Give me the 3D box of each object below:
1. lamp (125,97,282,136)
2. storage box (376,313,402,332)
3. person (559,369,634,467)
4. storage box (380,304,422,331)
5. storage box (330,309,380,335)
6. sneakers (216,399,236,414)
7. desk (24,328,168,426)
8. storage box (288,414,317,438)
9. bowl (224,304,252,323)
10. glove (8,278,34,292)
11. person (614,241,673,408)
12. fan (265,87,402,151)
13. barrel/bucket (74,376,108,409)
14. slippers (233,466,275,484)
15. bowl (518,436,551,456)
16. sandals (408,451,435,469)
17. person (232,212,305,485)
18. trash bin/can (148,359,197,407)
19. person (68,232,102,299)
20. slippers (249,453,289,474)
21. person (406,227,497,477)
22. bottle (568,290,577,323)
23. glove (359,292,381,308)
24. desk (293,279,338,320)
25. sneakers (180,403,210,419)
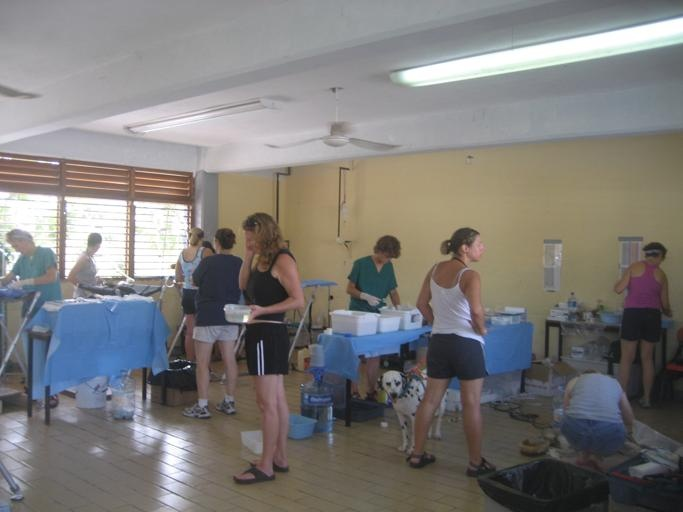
[{"bbox_3d":[-1.832,-1.832,7.067,2.746,0.182,0.382,3,5,33],"label":"lamp"},{"bbox_3d":[0.474,0.693,5.550,0.153,0.101,0.212,3,4,41],"label":"storage box"},{"bbox_3d":[1.953,1.283,4.146,0.479,0.727,0.328,3,5,27],"label":"person"},{"bbox_3d":[0.664,0.658,5.767,0.236,0.174,0.346,3,-3,-41],"label":"storage box"},{"bbox_3d":[0.080,0.662,5.379,0.242,0.162,0.345,3,-3,-45],"label":"storage box"},{"bbox_3d":[-1.249,1.623,5.878,0.098,0.173,0.265,1,7,-34],"label":"sneakers"},{"bbox_3d":[-2.584,1.258,5.642,0.933,0.880,0.387,2,-5,-26],"label":"desk"},{"bbox_3d":[-0.414,1.627,5.148,0.188,0.100,0.244,2,-4,-36],"label":"storage box"},{"bbox_3d":[-0.770,0.447,4.053,0.195,0.147,0.159,0,4,-7],"label":"bowl"},{"bbox_3d":[-3.740,0.338,6.306,0.165,0.092,0.227,-3,0,24],"label":"glove"},{"bbox_3d":[3.457,0.792,6.250,0.626,1.889,0.279,0,4,-7],"label":"person"},{"bbox_3d":[-0.013,-1.568,6.579,1.050,0.637,1.678,0,4,-5],"label":"fan"},{"bbox_3d":[-2.726,1.513,5.974,0.363,0.391,0.373,2,1,0],"label":"barrel/bucket"},{"bbox_3d":[-0.690,1.714,4.254,0.253,0.104,0.133,4,-8,-12],"label":"slippers"},{"bbox_3d":[1.755,1.715,4.856,0.372,0.118,0.145,-1,5,-29],"label":"bowl"},{"bbox_3d":[0.685,1.708,4.561,0.215,0.086,0.109,0,2,-45],"label":"sandals"},{"bbox_3d":[-0.561,0.730,4.192,0.531,2.103,0.392,1,4,3],"label":"person"},{"bbox_3d":[-1.900,1.436,6.148,0.460,0.371,0.486,-3,7,-44],"label":"trash bin/can"},{"bbox_3d":[-3.240,0.121,6.828,0.362,0.810,0.837,-1,5,-26],"label":"person"},{"bbox_3d":[-0.578,1.672,4.385,0.336,0.138,0.116,10,-4,-5],"label":"slippers"},{"bbox_3d":[0.899,0.780,4.392,0.688,2.002,0.564,1,4,8],"label":"person"},{"bbox_3d":[3.013,0.656,7.049,0.122,0.291,0.524,2,4,23],"label":"bottle"},{"bbox_3d":[0.301,0.471,5.822,0.299,0.182,0.136,7,-12,7],"label":"glove"},{"bbox_3d":[-0.403,0.622,8.514,0.686,0.666,0.579,2,10,3],"label":"desk"},{"bbox_3d":[-1.507,1.635,5.644,0.299,0.149,0.125,4,-1,19],"label":"sneakers"}]
